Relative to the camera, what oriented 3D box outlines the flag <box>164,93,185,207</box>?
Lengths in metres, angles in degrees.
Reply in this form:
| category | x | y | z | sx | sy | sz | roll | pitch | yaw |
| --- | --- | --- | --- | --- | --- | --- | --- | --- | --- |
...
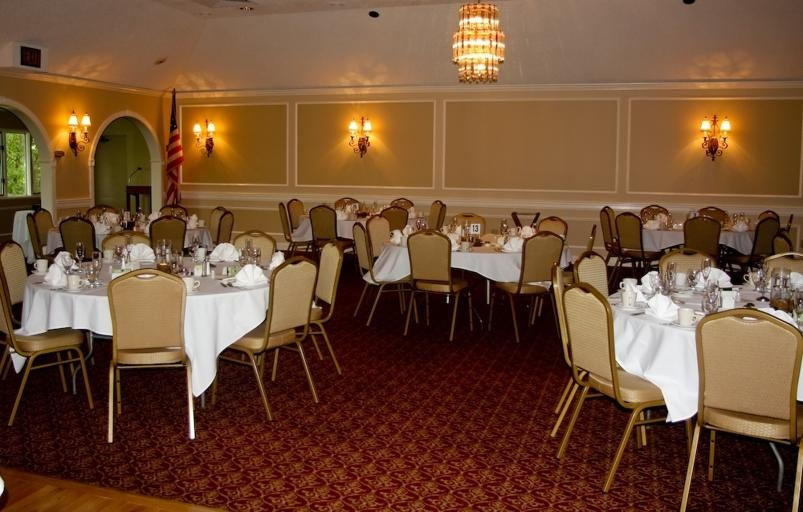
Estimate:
| category | x | y | z | sx | sy | sz | roll | pitch | yaw |
| --- | --- | --- | --- | --- | --- | --- | --- | --- | --- |
| flag | -5.132 | -2.458 | 12.894 | 0.455 | 2.530 | 0.659 | -4 | 13 | -22 |

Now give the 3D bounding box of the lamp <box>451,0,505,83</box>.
| category | x | y | z | sx | sy | sz | roll | pitch | yaw |
| --- | --- | --- | --- | --- | --- | --- | --- | --- | --- |
| lamp | 1.026 | -2.853 | 7.610 | 0.646 | 1.003 | 0.312 | 3 | 12 | 10 |

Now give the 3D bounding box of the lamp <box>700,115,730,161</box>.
| category | x | y | z | sx | sy | sz | roll | pitch | yaw |
| --- | --- | --- | --- | --- | --- | --- | --- | --- | --- |
| lamp | 5.785 | -2.191 | 10.598 | 0.498 | 0.812 | 0.166 | 1 | 12 | 0 |

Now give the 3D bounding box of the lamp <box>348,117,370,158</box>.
| category | x | y | z | sx | sy | sz | roll | pitch | yaw |
| --- | --- | --- | --- | --- | --- | --- | --- | --- | --- |
| lamp | -0.859 | -2.506 | 12.038 | 0.477 | 0.825 | 0.160 | 2 | 12 | 5 |

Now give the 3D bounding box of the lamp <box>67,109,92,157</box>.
| category | x | y | z | sx | sy | sz | roll | pitch | yaw |
| --- | --- | --- | --- | --- | --- | --- | --- | --- | --- |
| lamp | -6.155 | -2.360 | 11.068 | 0.178 | 0.841 | 0.518 | 7 | 13 | 25 |
